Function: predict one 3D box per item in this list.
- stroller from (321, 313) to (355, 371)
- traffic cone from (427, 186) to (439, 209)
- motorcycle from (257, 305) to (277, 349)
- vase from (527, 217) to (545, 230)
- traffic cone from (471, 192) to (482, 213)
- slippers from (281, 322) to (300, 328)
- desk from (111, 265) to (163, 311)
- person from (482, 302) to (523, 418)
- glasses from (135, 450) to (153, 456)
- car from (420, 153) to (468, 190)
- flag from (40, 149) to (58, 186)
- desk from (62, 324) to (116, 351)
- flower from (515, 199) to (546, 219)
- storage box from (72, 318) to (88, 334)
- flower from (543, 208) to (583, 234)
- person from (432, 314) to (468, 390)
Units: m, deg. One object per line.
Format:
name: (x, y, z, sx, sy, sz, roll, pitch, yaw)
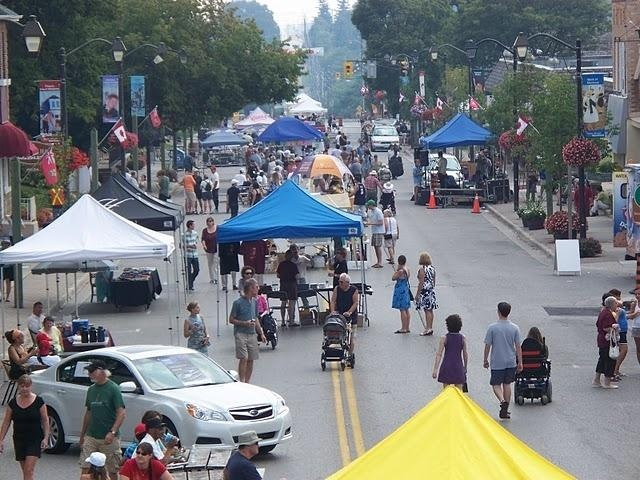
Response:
stroller: (0.485, 2.695, 36.798, 0.916, 1.459, 0.840, -3, 3, -15)
traffic cone: (4.984, -1.799, 61.676, 0.598, 0.972, 0.688, -1, 2, -3)
motorcycle: (-1.397, 2.334, 38.750, 0.404, 0.649, 1.020, -1, 15, 5)
vase: (8.468, -0.663, 54.364, 0.550, 0.479, 0.477, 0, -1, -6)
traffic cone: (6.731, -1.572, 59.657, 0.646, 1.023, 0.709, 0, 0, -3)
slippers: (-0.845, 2.484, 41.058, 0.472, 0.235, 0.188, -1, 2, 4)
desk: (-5.918, 1.437, 44.206, 1.471, 0.967, 2.752, 0, 9, -3)
person: (4.401, 2.882, 33.390, 0.926, 2.789, 0.628, -2, 3, -1)
glasses: (-3.622, 4.444, 28.834, 0.324, 0.110, 0.086, -3, 3, -10)
car: (5.727, -3.055, 64.376, 1.705, 1.833, 2.159, -1, 11, 1)
flag: (-9.175, -2.574, 47.388, 0.562, 1.643, 0.127, -19, -34, 10)
desk: (-6.119, 2.666, 36.235, 0.807, 0.375, 0.877, 0, 4, 13)
flower: (8.308, -1.183, 54.666, 0.765, 0.660, 0.906, 0, 4, 2)
storage box: (-6.361, 2.291, 36.958, 0.409, 0.472, 0.346, -3, 2, 10)
flower: (8.744, -0.688, 50.727, 0.845, 0.722, 0.900, -1, 1, 30)
person: (3.095, 2.744, 33.119, 0.809, 1.933, 1.203, -2, 3, 3)
